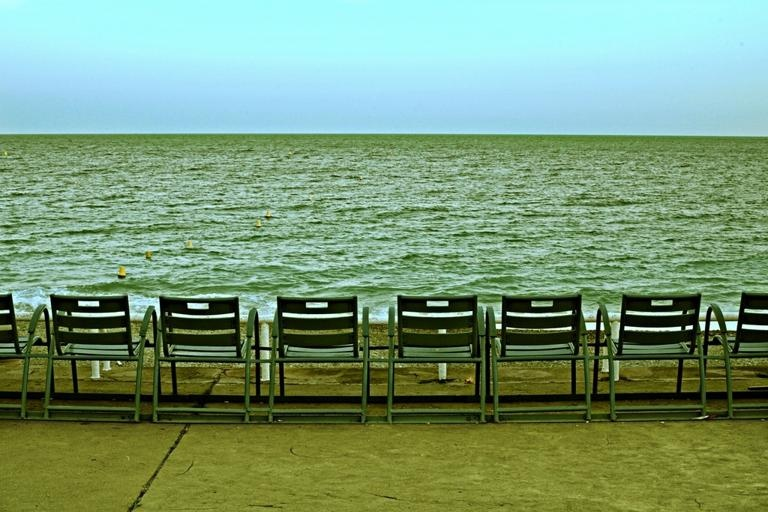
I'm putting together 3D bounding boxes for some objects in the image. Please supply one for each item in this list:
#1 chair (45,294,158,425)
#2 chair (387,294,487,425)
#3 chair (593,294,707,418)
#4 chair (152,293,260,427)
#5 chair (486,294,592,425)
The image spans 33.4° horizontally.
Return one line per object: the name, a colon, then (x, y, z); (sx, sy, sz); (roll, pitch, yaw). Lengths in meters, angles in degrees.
chair: (-4.944, 1.387, 22.909); (1.844, 1.628, 2.677); (0, 7, -3)
chair: (0.975, 1.351, 22.807); (1.686, 1.490, 2.509); (1, 7, 3)
chair: (4.569, 1.641, 22.111); (1.855, 2.145, 1.358); (-3, 8, 7)
chair: (-3.053, 1.473, 22.690); (1.768, 1.485, 2.579); (0, 9, -2)
chair: (2.694, 1.515, 22.770); (1.764, 1.655, 2.579); (-1, 11, 5)
